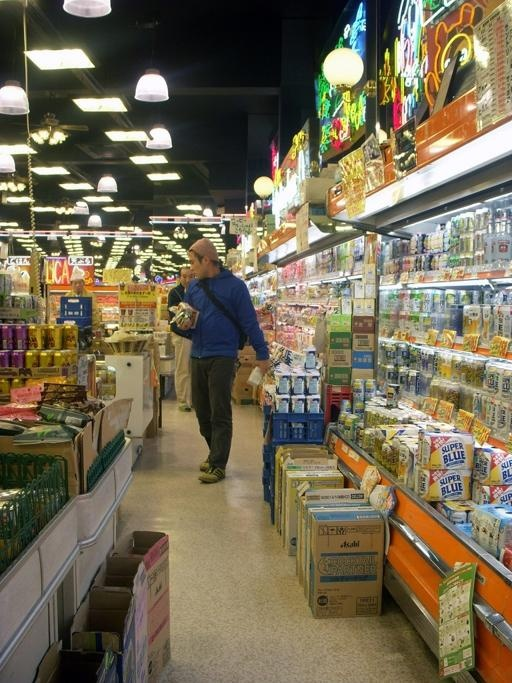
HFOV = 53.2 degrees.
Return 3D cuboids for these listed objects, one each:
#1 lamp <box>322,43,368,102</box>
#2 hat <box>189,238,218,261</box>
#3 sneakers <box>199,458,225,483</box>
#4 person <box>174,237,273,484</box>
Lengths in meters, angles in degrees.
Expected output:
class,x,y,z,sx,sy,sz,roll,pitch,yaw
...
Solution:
class,x,y,z,sx,sy,sz,roll,pitch,yaw
lamp,0.710,-2.256,4.231,0.283,0.377,0.357,-1,1,3
hat,-0.426,-0.788,4.365,0.187,0.149,0.270,0,1,31
sneakers,-0.383,1.134,4.434,0.100,0.139,0.284,0,-8,8
person,-0.359,0.159,4.414,0.822,2.093,0.734,5,10,24
